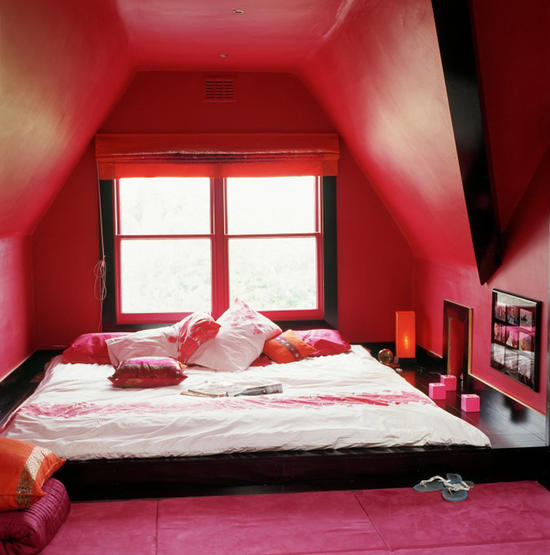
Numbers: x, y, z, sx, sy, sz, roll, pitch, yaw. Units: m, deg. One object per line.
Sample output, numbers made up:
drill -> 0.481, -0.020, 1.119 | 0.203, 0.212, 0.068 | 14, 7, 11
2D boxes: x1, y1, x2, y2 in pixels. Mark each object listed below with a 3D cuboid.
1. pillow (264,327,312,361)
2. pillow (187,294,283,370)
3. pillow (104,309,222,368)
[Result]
pillow -> 0.096, 0.474, 3.584 | 0.209, 0.067, 0.223 | -12, 31, -21
pillow -> -0.330, 0.393, 3.713 | 0.686, 0.239, 0.879 | 8, 24, 17
pillow -> -0.770, 0.420, 3.468 | 0.471, 0.166, 0.450 | -11, 8, -17
